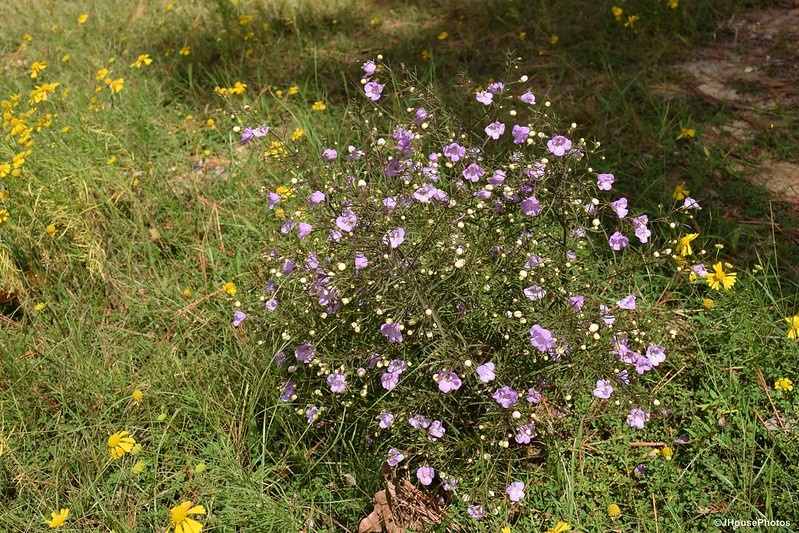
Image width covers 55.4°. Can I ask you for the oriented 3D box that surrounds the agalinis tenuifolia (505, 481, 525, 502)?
[{"bbox_3d":[0.873,1.681,5.683,0.121,0.068,0.151,8,76,-2],"label":"agalinis tenuifolia"}]
